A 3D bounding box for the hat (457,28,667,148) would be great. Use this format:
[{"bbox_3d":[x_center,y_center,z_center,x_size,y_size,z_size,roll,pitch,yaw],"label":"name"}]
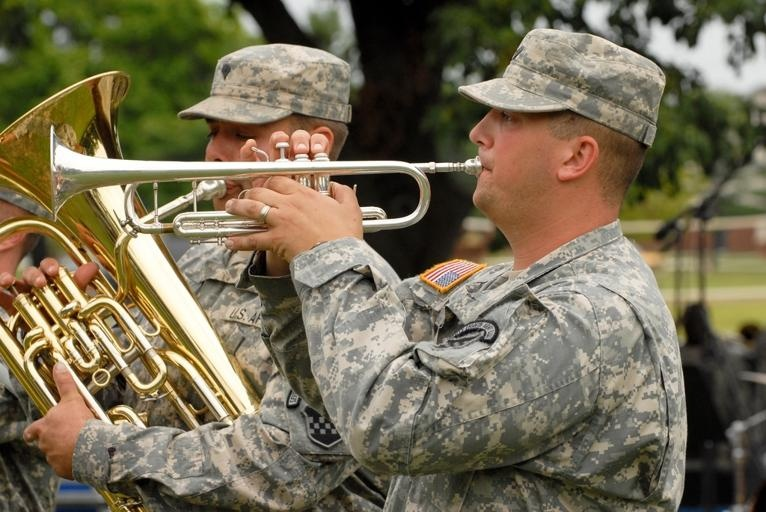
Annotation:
[{"bbox_3d":[0.979,-0.834,7.198,0.827,0.388,0.633,10,4,-7],"label":"hat"}]
